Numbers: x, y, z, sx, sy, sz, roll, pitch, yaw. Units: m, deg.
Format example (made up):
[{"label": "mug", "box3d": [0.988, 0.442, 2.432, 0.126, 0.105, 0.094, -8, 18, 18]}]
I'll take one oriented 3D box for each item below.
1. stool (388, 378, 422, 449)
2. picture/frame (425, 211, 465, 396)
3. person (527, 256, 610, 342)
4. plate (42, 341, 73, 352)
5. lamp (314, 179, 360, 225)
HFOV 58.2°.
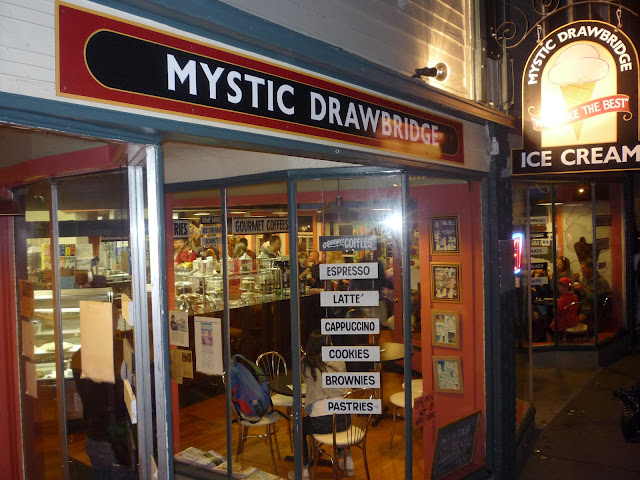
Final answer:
[{"label": "stool", "box3d": [0.882, 1.715, 5.961, 0.364, 0.734, 0.412, 0, 8, -43]}, {"label": "picture/frame", "box3d": [1.372, 0.693, 6.197, 0.353, 1.892, 0.095, -3, -1, 11]}, {"label": "person", "box3d": [4.093, 0.998, 9.588, 1.355, 1.486, 0.474, -2, 2, -13]}, {"label": "plate", "box3d": [-2.190, 0.894, 4.779, 0.150, 0.041, 0.132, 2, -1, -6]}, {"label": "lamp", "box3d": [0.140, -0.360, 5.209, 0.343, 0.413, 0.361, 4, 9, 28]}]
